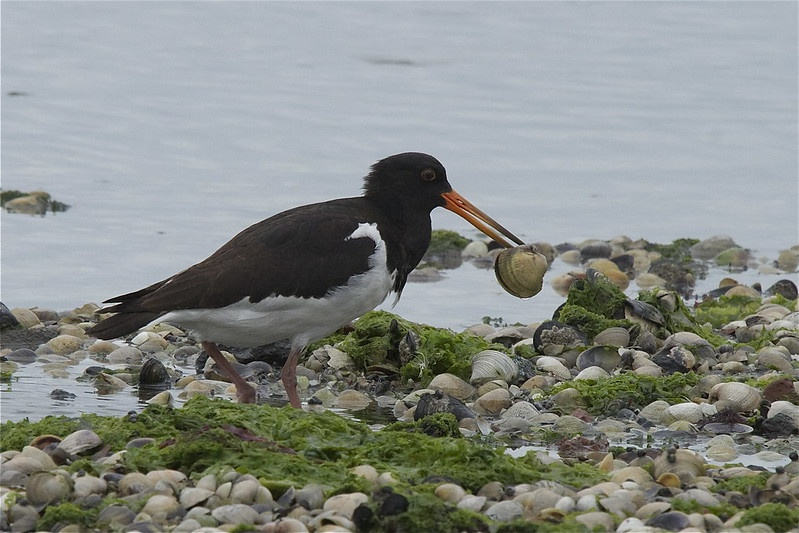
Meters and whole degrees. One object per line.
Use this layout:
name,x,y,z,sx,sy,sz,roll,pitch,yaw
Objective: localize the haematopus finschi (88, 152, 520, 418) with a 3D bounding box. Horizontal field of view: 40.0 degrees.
haematopus finschi,-1.159,0.166,12.795,3.889,2.890,1.435,-9,16,-37
